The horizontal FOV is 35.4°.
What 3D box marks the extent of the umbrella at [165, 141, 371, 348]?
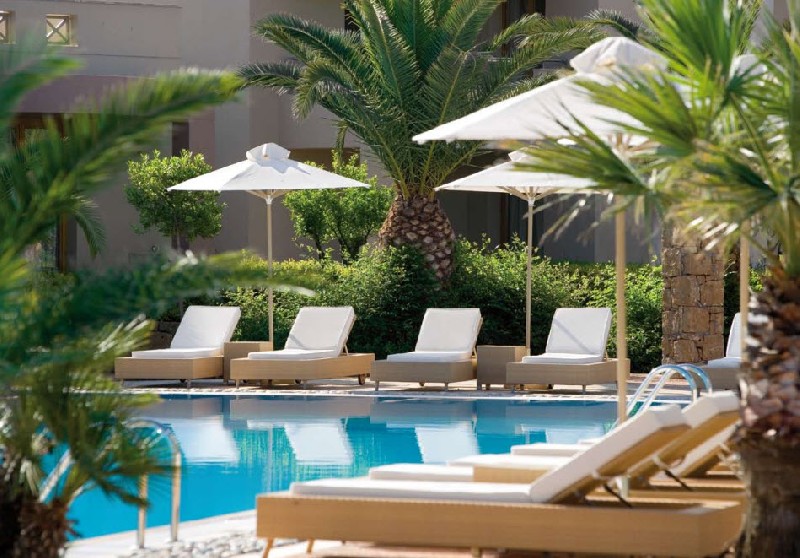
[{"bbox_3d":[-1.776,-0.394,16.983,1.872,2.699,2.406,3,10,22],"label":"umbrella"}]
